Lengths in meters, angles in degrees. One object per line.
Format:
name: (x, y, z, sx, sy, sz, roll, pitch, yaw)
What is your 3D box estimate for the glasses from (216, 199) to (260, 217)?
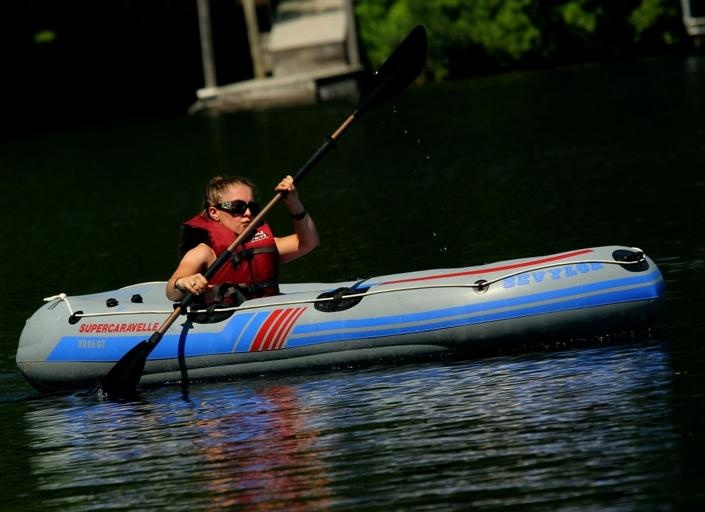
glasses: (-0.763, -0.322, 7.493, 0.192, 0.054, 0.152, -10, -7, 40)

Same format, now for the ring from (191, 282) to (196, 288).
ring: (-1.025, 0.188, 7.158, 0.024, 0.031, 0.015, 1, -7, 0)

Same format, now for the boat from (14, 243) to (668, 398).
boat: (0.048, 0.410, 7.516, 5.183, 0.764, 1.349, -9, 2, 11)
